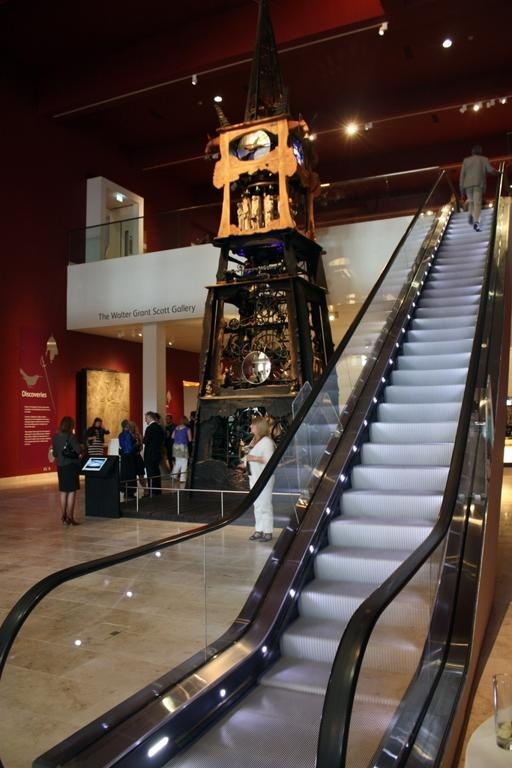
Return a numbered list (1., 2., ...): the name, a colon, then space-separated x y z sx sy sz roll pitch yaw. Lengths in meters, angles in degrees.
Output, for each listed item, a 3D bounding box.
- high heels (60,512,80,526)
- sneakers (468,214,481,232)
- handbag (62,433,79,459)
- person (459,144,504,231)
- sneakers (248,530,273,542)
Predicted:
1. high heels: -2.529 1.825 7.410 0.119 0.166 0.370 1 1 4
2. sneakers: 3.906 -2.902 9.740 0.179 0.248 0.575 -1 21 16
3. handbag: -2.500 0.841 7.256 0.169 0.406 0.288 -1 -7 19
4. person: 4.160 -3.675 10.119 0.626 1.580 0.492 3 0 19
5. sneakers: 0.033 0.843 3.002 0.054 0.074 0.168 -4 -15 23
